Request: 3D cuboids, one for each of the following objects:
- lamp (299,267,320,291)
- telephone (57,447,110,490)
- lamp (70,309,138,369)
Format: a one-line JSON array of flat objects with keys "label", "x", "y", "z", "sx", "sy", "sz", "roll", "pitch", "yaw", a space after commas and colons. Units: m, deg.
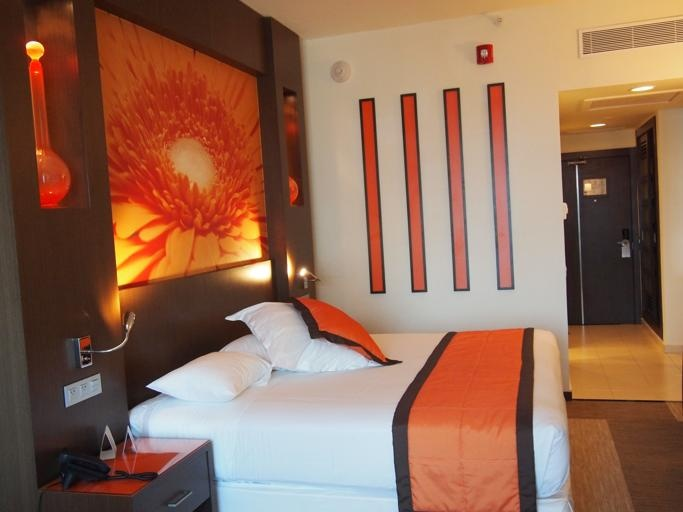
[{"label": "lamp", "x": -0.282, "y": 0.198, "z": 4.814, "sx": 0.178, "sy": 0.239, "sz": 0.157, "roll": -2, "pitch": 11, "yaw": 1}, {"label": "telephone", "x": -1.160, "y": 0.978, "z": 2.481, "sx": 0.236, "sy": 0.128, "sz": 0.195, "roll": 13, "pitch": -21, "yaw": 18}, {"label": "lamp", "x": -1.162, "y": 0.403, "z": 2.612, "sx": 0.297, "sy": 0.352, "sz": 0.094, "roll": 4, "pitch": 18, "yaw": -11}]
